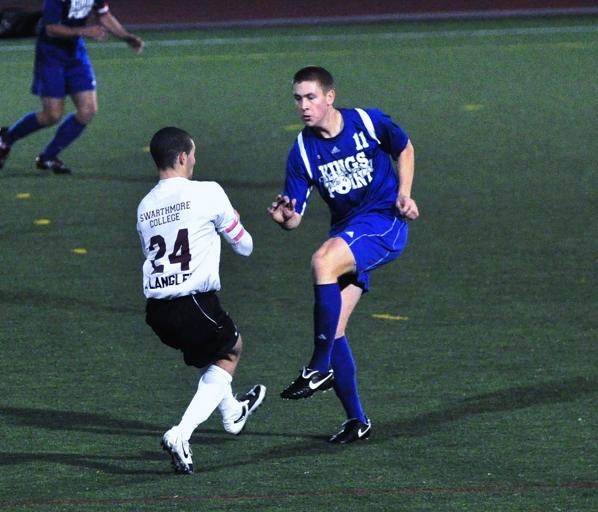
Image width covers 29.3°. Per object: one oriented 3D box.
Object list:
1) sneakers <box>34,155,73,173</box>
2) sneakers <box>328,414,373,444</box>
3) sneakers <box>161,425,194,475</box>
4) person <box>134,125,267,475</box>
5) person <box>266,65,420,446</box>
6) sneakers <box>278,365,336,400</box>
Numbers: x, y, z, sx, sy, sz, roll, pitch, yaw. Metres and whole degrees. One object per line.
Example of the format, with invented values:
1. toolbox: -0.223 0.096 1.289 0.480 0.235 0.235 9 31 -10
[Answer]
1. sneakers: -2.064 -0.755 9.571 0.243 0.104 0.174 20 -4 -11
2. sneakers: 0.261 0.841 5.622 0.253 0.101 0.086 -9 18 -25
3. sneakers: -0.534 0.896 5.259 0.103 0.268 0.124 26 65 30
4. person: -0.523 0.211 5.330 0.552 1.520 0.767 5 19 14
5. person: 0.225 -0.057 5.785 0.727 1.724 1.025 2 19 5
6. sneakers: 0.035 0.617 5.551 0.311 0.142 0.114 -20 34 -24
